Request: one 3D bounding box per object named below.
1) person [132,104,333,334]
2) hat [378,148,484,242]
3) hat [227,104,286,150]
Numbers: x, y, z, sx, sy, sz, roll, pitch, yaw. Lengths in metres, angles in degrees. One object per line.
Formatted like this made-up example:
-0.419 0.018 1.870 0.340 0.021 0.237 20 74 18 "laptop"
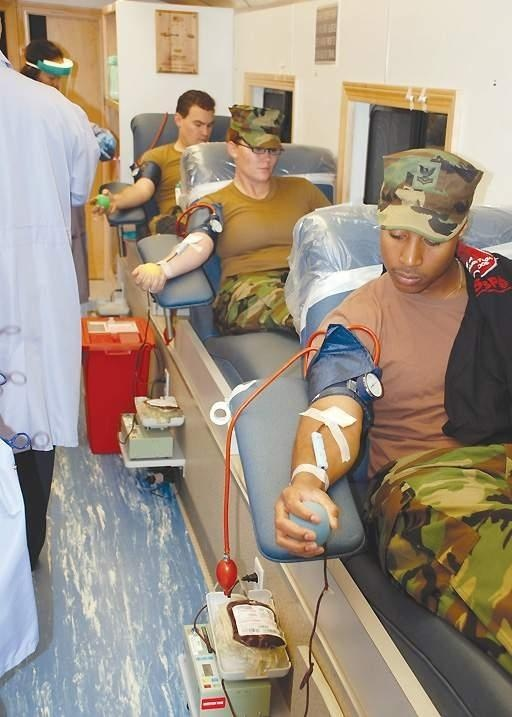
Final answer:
-0.055 -0.682 2.277 0.729 0.731 1.022 -1 26 1 "person"
0.336 -0.338 1.011 0.186 0.153 0.251 14 29 20 "hat"
0.004 -0.979 2.158 0.178 0.139 0.221 -4 33 -25 "hat"
